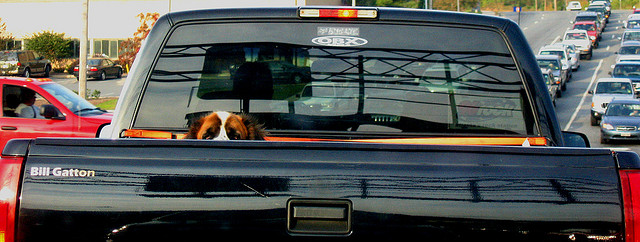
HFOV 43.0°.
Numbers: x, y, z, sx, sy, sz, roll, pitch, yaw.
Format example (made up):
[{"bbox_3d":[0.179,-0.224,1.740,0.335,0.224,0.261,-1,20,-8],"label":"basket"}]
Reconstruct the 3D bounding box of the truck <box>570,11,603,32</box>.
[{"bbox_3d":[49.371,-19.238,150.341,4.750,2.315,5.836,-1,1,16],"label":"truck"}]

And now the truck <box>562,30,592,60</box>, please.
[{"bbox_3d":[42.852,-14.175,137.634,5.156,3.382,7.859,1,34,9],"label":"truck"}]
